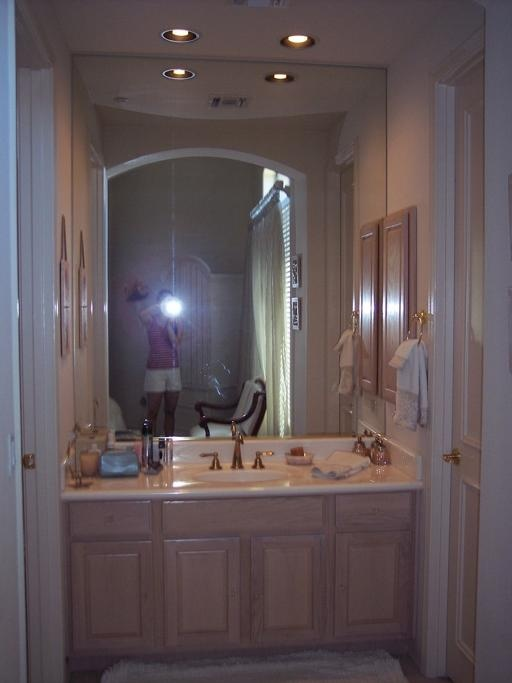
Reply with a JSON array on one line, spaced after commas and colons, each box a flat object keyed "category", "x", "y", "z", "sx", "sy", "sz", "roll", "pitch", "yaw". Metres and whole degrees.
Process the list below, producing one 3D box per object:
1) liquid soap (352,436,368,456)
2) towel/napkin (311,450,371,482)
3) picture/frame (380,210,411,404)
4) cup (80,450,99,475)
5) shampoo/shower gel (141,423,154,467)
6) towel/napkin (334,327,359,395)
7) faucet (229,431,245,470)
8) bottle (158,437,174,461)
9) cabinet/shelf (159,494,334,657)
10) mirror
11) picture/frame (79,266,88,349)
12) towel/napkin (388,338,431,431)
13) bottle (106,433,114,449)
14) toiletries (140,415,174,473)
[{"category": "liquid soap", "x": 0.457, "y": 0.450, "z": 2.589, "sx": 0.054, "sy": 0.144, "sz": 0.067, "roll": -3, "pitch": -4, "yaw": 24}, {"category": "towel/napkin", "x": 0.341, "y": 0.504, "z": 2.408, "sx": 0.184, "sy": 0.076, "sz": 0.277, "roll": 0, "pitch": -3, "yaw": 29}, {"category": "picture/frame", "x": 0.542, "y": -0.228, "z": 2.318, "sx": 0.018, "sy": 0.501, "sz": 0.167, "roll": -2, "pitch": 1, "yaw": -24}, {"category": "cup", "x": -0.646, "y": 0.463, "z": 2.298, "sx": 0.065, "sy": 0.102, "sz": 0.066, "roll": 2, "pitch": -3, "yaw": 0}, {"category": "shampoo/shower gel", "x": -0.448, "y": 0.415, "z": 2.407, "sx": 0.033, "sy": 0.218, "sz": 0.042, "roll": 4, "pitch": 25, "yaw": -2}, {"category": "towel/napkin", "x": 0.405, "y": 0.057, "z": 2.596, "sx": 0.120, "sy": 0.028, "sz": 0.255, "roll": 0, "pitch": 39, "yaw": 21}, {"category": "faucet", "x": -0.079, "y": 0.452, "z": 2.485, "sx": 0.050, "sy": 0.151, "sz": 0.106, "roll": 1, "pitch": -2, "yaw": -1}, {"category": "bottle", "x": -0.380, "y": 0.448, "z": 2.516, "sx": 0.061, "sy": 0.152, "sz": 0.063, "roll": 0, "pitch": 1, "yaw": 0}, {"category": "cabinet/shelf", "x": -0.049, "y": 0.834, "z": 2.182, "sx": 0.389, "sy": 0.542, "sz": 0.185, "roll": 0, "pitch": -1, "yaw": -8}, {"category": "mirror", "x": -0.157, "y": -0.434, "z": 2.463, "sx": 0.998, "sy": 1.849, "sz": 0.103, "roll": -1, "pitch": 1, "yaw": -9}, {"category": "picture/frame", "x": -0.703, "y": -0.135, "z": 2.411, "sx": 0.035, "sy": 0.324, "sz": 0.030, "roll": 1, "pitch": -1, "yaw": -22}, {"category": "towel/napkin", "x": 0.559, "y": 0.159, "z": 2.179, "sx": 0.133, "sy": 0.327, "sz": 0.145, "roll": 1, "pitch": -1, "yaw": -8}, {"category": "bottle", "x": -0.594, "y": 0.400, "z": 2.426, "sx": 0.030, "sy": 0.062, "sz": 0.079, "roll": 1, "pitch": -2, "yaw": -15}, {"category": "toiletries", "x": -0.409, "y": 0.416, "z": 2.424, "sx": 0.123, "sy": 0.277, "sz": 0.161, "roll": 0, "pitch": 2, "yaw": -10}]
